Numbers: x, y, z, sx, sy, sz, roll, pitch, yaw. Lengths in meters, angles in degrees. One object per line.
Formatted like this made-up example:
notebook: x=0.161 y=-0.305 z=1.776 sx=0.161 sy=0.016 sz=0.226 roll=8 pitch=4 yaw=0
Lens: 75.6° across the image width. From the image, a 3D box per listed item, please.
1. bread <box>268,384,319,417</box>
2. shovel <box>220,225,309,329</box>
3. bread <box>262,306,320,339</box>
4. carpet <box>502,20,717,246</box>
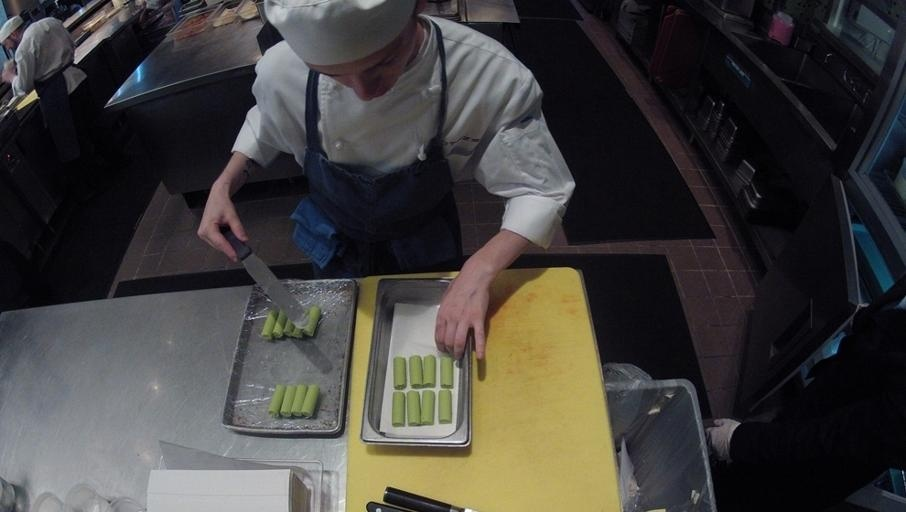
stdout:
bread: x=-0.768 y=0.689 z=2.763 sx=0.187 sy=0.164 sz=0.058 roll=-3 pitch=-22 yaw=10
shovel: x=-1.090 y=0.132 z=3.339 sx=0.092 sy=0.723 sz=0.052 roll=-40 pitch=-6 yaw=5
bread: x=-0.802 y=0.347 z=2.965 sx=0.216 sy=0.156 sz=0.070 roll=-1 pitch=-12 yaw=1
carpet: x=1.313 y=-0.942 z=4.581 sx=1.200 sy=3.104 sz=0.153 roll=-6 pitch=-40 yaw=-4
